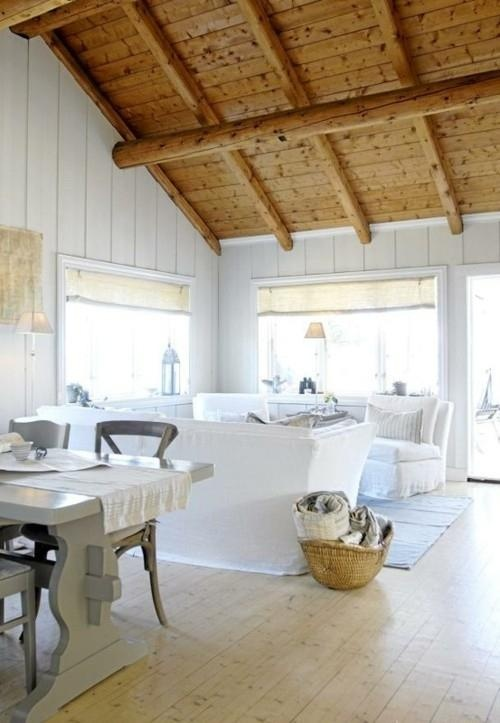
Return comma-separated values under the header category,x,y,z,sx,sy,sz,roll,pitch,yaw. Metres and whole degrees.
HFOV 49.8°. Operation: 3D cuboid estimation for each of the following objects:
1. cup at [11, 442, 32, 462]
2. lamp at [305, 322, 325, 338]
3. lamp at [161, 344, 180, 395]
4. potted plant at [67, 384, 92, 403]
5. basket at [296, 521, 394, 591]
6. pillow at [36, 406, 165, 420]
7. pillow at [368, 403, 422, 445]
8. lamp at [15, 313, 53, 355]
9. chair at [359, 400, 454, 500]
category,x,y,z,sx,sy,sz,roll,pitch,yaw
cup,-0.838,0.336,2.000,0.072,0.064,0.070,-1,-10,0
lamp,0.727,-0.355,6.054,0.181,0.112,0.188,-1,-2,-41
lamp,-0.952,0.081,6.454,0.186,0.653,0.293,-1,-5,10
potted plant,-1.556,0.299,4.913,0.208,0.196,0.185,2,-5,-17
basket,0.506,0.982,2.789,0.400,0.257,0.554,-9,-4,35
pillow,-1.094,0.362,3.806,0.356,0.099,1.213,5,-7,-44
pillow,1.303,0.566,4.799,0.099,0.228,0.377,20,-16,-40
lamp,-1.720,-0.215,4.310,0.255,0.321,0.476,2,-6,-21
chair,1.342,0.715,5.185,0.975,0.901,0.959,2,-3,-38
